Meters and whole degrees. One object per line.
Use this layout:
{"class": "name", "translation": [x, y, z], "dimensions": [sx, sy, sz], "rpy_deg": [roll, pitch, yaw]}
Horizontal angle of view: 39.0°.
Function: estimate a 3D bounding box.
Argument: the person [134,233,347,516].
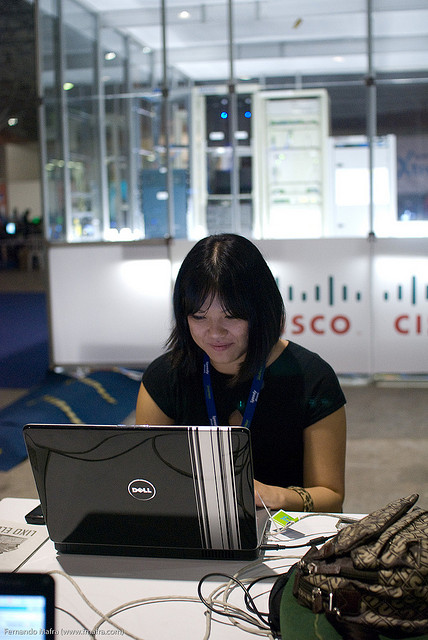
{"class": "person", "translation": [0.053, 0.176, 1.592], "dimensions": [0.591, 0.779, 0.526], "rpy_deg": [3, 17, 16]}
